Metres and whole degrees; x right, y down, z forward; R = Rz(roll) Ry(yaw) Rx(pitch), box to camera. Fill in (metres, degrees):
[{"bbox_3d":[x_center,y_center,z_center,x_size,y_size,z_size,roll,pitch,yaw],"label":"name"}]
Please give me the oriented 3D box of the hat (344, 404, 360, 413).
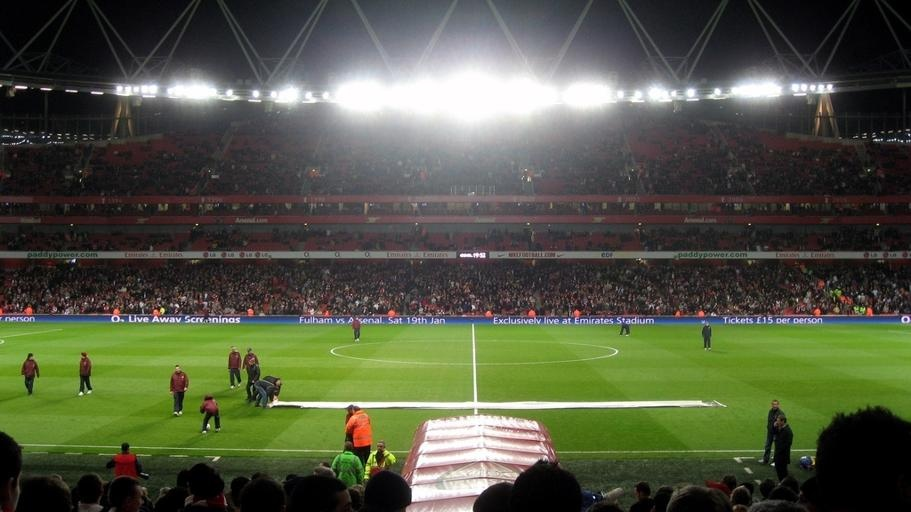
[{"bbox_3d":[-8.303,12.313,72.337,1.276,0.803,0.791,0,7,32],"label":"hat"}]
